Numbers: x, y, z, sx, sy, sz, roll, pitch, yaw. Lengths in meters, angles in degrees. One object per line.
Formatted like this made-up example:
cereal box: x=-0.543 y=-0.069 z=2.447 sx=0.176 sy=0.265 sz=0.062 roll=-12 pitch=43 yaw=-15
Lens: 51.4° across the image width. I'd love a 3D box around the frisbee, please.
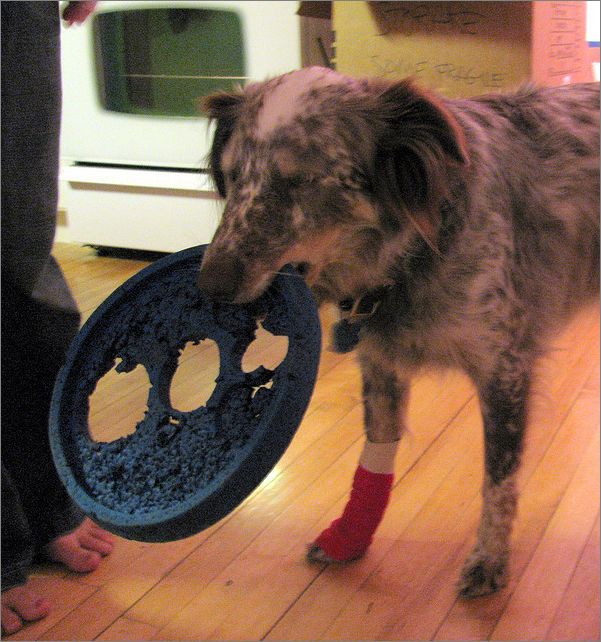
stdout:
frisbee: x=-0.074 y=0.164 z=1.177 sx=0.605 sy=0.121 sz=0.500 roll=-21 pitch=43 yaw=28
